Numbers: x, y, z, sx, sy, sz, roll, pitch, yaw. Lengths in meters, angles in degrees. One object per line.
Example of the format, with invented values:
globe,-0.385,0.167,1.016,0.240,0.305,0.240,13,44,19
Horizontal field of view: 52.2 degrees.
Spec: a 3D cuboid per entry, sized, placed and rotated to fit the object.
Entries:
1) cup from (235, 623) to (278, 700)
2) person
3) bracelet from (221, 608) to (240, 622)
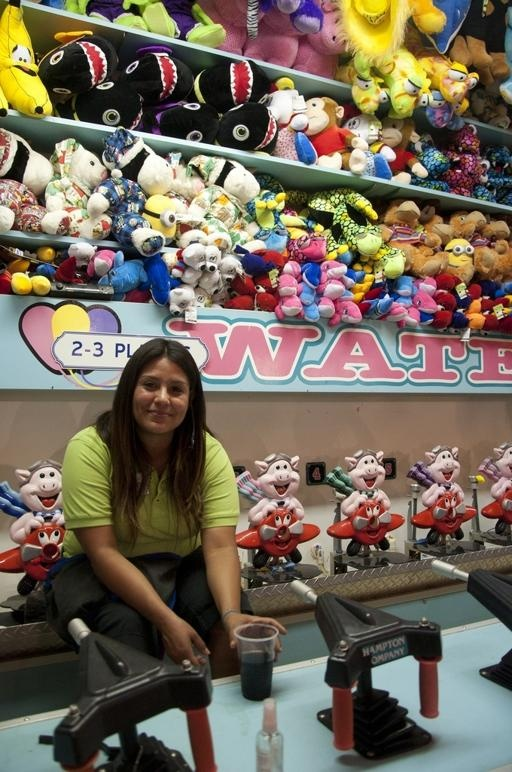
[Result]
cup,-0.001,0.466,0.881,0.068,0.136,0.107,1,-6,0
person,-0.208,0.245,1.101,0.411,0.705,0.434,3,-7,-20
bracelet,-0.050,0.437,1.014,0.024,0.017,0.023,1,-2,-38
